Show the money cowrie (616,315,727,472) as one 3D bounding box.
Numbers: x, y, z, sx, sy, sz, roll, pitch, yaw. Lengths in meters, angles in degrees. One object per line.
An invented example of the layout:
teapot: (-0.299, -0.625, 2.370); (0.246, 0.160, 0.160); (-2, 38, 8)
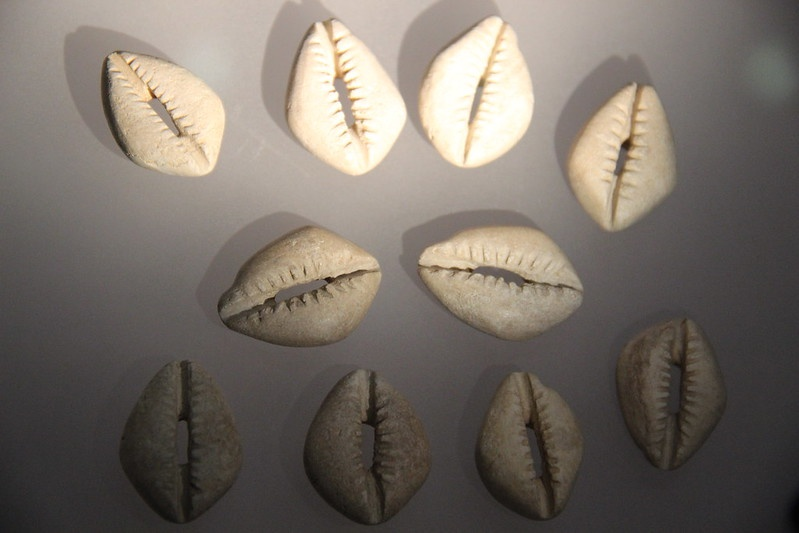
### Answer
money cowrie: (0.710, 0.299, 2.313); (0.257, 0.107, 0.394); (15, -89, 6)

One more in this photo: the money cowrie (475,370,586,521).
money cowrie: (0.323, 0.453, 2.226); (0.267, 0.105, 0.357); (-9, -95, -15)

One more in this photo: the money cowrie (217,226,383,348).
money cowrie: (-0.258, 0.094, 2.268); (0.394, 0.340, 0.200); (-18, -36, -40)

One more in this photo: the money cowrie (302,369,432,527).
money cowrie: (-0.078, 0.466, 2.203); (0.311, 0.140, 0.388); (-7, -90, -20)

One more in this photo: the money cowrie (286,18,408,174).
money cowrie: (-0.120, -0.441, 2.290); (0.358, 0.176, 0.474); (-11, -32, 0)

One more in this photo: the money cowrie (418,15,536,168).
money cowrie: (0.197, -0.438, 2.266); (0.289, 0.235, 0.251); (-21, -53, 14)

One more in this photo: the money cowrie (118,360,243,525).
money cowrie: (-0.548, 0.457, 2.285); (0.285, 0.202, 0.399); (-15, -85, -2)
